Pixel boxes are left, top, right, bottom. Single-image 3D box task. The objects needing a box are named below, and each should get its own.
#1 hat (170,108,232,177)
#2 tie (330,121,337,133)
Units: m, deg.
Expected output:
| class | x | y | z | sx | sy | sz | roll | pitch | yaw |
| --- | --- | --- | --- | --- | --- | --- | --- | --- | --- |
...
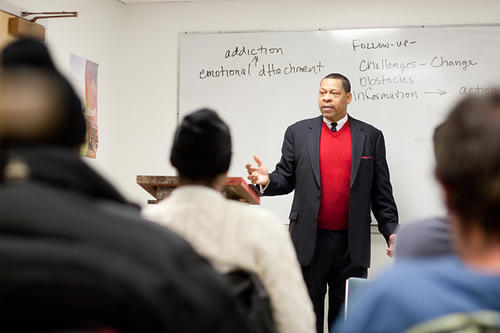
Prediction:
| class | x | y | z | sx | sy | sz | roll | pitch | yaw |
| --- | --- | --- | --- | --- | --- | --- | --- | --- | --- |
| hat | -0.118 | -0.078 | 1.167 | 0.154 | 0.173 | 0.177 | 8 | 20 | 8 |
| tie | 0.595 | -0.277 | 2.865 | 0.048 | 0.065 | 0.025 | 2 | -3 | 7 |
